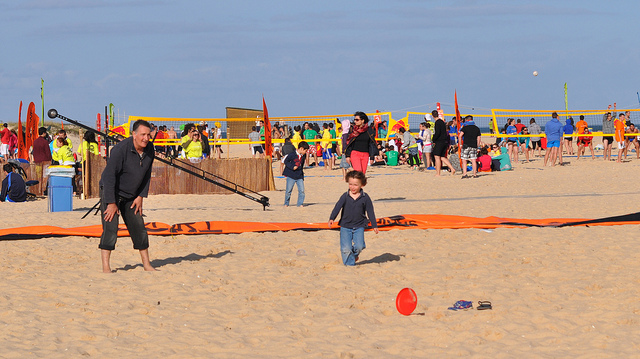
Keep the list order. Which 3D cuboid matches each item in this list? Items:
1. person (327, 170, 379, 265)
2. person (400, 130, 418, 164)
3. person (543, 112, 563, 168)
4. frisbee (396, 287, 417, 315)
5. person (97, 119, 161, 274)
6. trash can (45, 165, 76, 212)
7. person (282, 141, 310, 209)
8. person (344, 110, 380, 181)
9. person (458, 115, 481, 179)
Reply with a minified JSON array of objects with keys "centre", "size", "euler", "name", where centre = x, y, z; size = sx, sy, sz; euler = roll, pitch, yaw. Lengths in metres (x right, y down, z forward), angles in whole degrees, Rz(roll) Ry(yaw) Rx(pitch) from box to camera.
[{"centre":[0.632,0.720,17.328],"size":[0.879,1.777,0.710],"euler":[0,2,3],"name":"person"},{"centre":[3.123,-1.118,32.439],"size":[0.420,0.406,1.132],"euler":[-20,27,-12],"name":"person"},{"centre":[7.437,-1.260,29.250],"size":[0.583,1.716,0.601],"euler":[4,1,28],"name":"person"},{"centre":[1.452,2.071,15.936],"size":[0.128,0.494,0.507],"euler":[23,11,-17],"name":"frisbee"},{"centre":[-3.475,0.325,16.702],"size":[1.038,2.768,0.646],"euler":[-1,2,-12],"name":"person"},{"centre":[-6.233,0.204,22.142],"size":[0.610,1.058,0.371],"euler":[-1,2,-15],"name":"trash can"},{"centre":[-0.607,-0.134,22.810],"size":[0.612,1.631,1.052],"euler":[0,2,-1],"name":"person"},{"centre":[1.050,-0.869,21.683],"size":[0.757,1.384,0.707],"euler":[-1,2,-28],"name":"person"},{"centre":[4.452,-0.974,27.538],"size":[0.628,1.833,1.408],"euler":[0,2,8],"name":"person"}]
